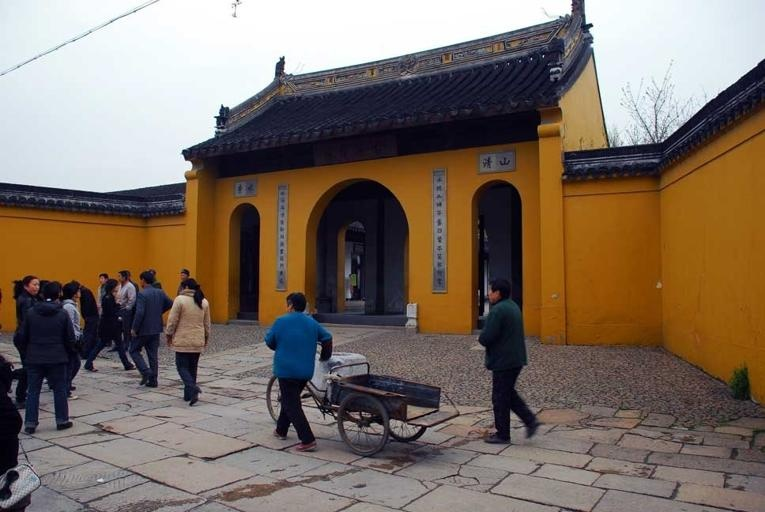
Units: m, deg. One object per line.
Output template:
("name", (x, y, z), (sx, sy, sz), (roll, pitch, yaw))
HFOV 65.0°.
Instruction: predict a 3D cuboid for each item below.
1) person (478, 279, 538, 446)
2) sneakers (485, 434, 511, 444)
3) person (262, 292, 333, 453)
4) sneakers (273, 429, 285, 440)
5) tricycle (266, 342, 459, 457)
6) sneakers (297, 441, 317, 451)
("person", (1.578, 1.308, 7.533), (0.731, 1.918, 0.697), (1, 9, 14))
("sneakers", (1.415, 2.236, 7.440), (0.317, 0.134, 0.121), (-1, -5, 14))
("person", (-1.082, 1.386, 7.413), (0.668, 1.806, 0.630), (2, 9, 19))
("sneakers", (-1.299, 2.236, 7.547), (0.073, 0.082, 0.193), (-1, 3, -44))
("tricycle", (-0.294, 1.801, 7.630), (2.379, 0.926, 1.113), (6, 2, 34))
("sneakers", (-0.906, 2.274, 7.226), (0.251, 0.112, 0.102), (1, -2, 15))
